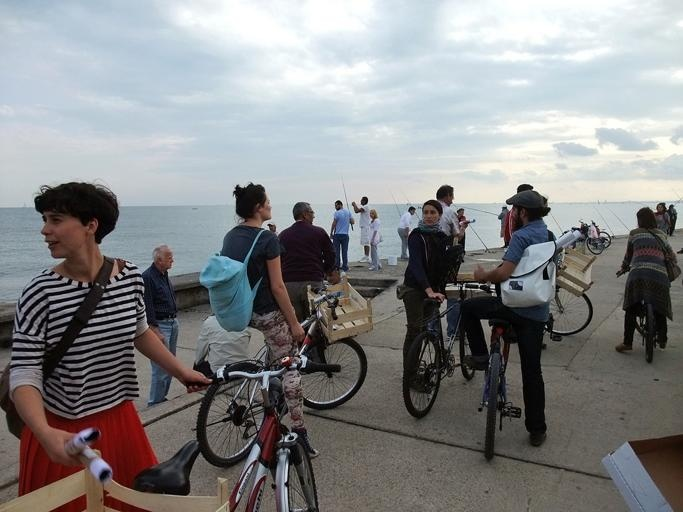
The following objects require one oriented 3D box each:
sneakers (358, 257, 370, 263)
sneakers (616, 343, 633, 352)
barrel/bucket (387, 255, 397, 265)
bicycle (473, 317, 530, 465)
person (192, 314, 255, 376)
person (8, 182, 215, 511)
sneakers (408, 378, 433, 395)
[{"bbox_3d":[0.800,0.191,16.312,0.158,0.184,0.465,-1,-6,26],"label":"sneakers"},{"bbox_3d":[3.786,1.243,6.453,0.215,0.090,0.095,2,-9,-5],"label":"sneakers"},{"bbox_3d":[1.568,0.181,14.846,0.260,0.271,0.252,0,3,0],"label":"barrel/bucket"},{"bbox_3d":[1.447,1.134,4.364,0.405,1.099,1.001,2,10,19],"label":"bicycle"},{"bbox_3d":[-1.019,0.750,4.616,0.772,0.742,0.424,3,0,-13],"label":"person"},{"bbox_3d":[-1.209,0.435,2.335,0.474,1.551,0.746,4,12,29],"label":"person"},{"bbox_3d":[0.761,1.280,4.643,0.240,0.099,0.144,19,24,-8],"label":"sneakers"}]
